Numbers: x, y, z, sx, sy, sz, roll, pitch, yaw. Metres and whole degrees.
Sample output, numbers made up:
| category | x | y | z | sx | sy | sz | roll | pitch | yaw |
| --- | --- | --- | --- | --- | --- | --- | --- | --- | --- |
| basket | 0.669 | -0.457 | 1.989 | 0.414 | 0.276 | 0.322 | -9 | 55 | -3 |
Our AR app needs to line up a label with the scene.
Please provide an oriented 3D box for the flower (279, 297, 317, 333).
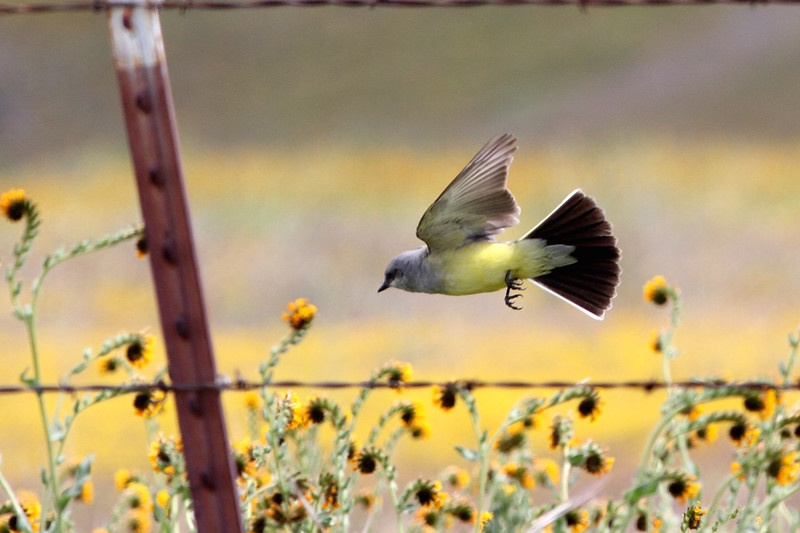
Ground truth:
| category | x | y | z | sx | sy | sz | roll | pitch | yaw |
| --- | --- | --- | --- | --- | --- | --- | --- | --- | --- |
| flower | -0.273 | 0.118 | 3.814 | 0.060 | 0.116 | 0.114 | 36 | -15 | -21 |

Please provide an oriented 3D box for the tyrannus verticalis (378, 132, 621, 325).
| category | x | y | z | sx | sy | sz | roll | pitch | yaw |
| --- | --- | --- | --- | --- | --- | --- | --- | --- | --- |
| tyrannus verticalis | 0.292 | -0.081 | 4.137 | 0.816 | 0.402 | 0.942 | -10 | -11 | -1 |
